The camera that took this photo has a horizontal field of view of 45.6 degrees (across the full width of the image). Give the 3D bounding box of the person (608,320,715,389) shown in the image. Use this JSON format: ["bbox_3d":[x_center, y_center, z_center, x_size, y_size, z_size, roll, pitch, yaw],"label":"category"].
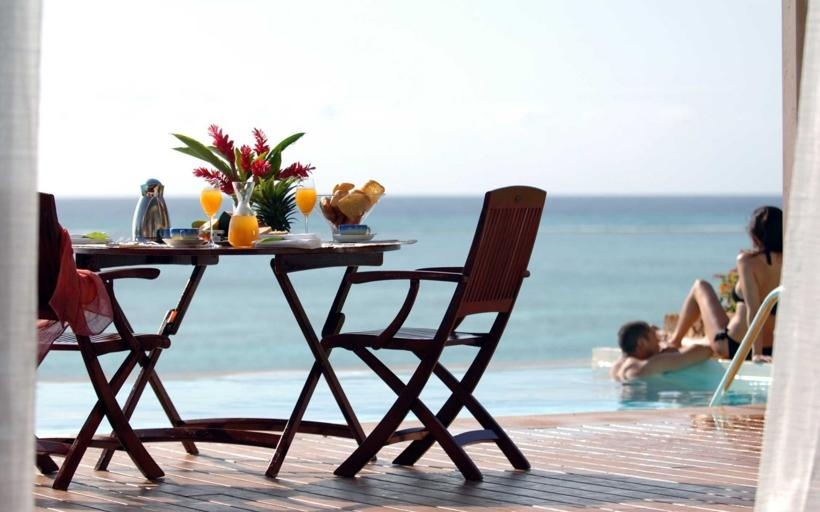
[{"bbox_3d":[2.463,0.982,9.821,0.694,0.561,0.875,-3,6,-33],"label":"person"}]

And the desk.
[{"bbox_3d":[-0.903,0.453,5.328,1.609,0.879,1.419,-1,0,-20],"label":"desk"}]

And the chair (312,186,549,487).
[{"bbox_3d":[0.184,0.409,5.090,1.138,1.519,0.603,-4,0,6],"label":"chair"}]

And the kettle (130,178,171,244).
[{"bbox_3d":[-1.417,-0.246,5.411,0.237,0.368,0.214,7,6,44],"label":"kettle"}]

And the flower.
[{"bbox_3d":[-0.928,-0.434,5.576,0.731,0.526,0.692,0,-1,18],"label":"flower"}]

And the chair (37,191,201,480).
[{"bbox_3d":[-1.581,0.442,4.915,0.591,1.309,0.882,0,-1,45],"label":"chair"}]
